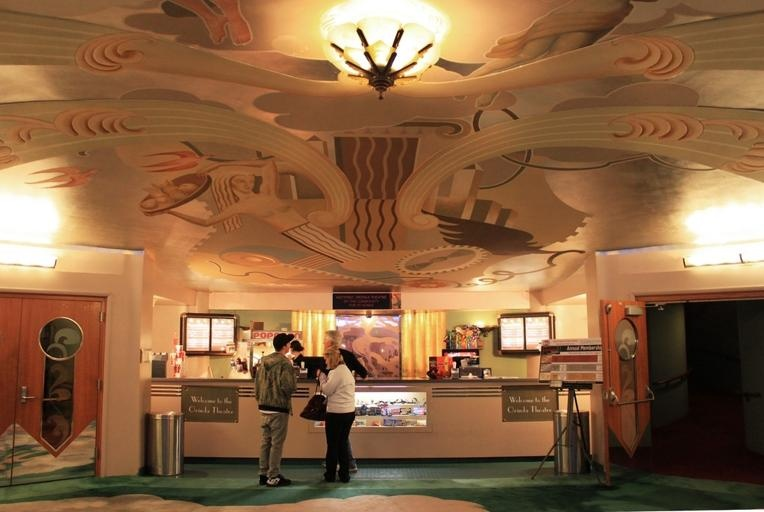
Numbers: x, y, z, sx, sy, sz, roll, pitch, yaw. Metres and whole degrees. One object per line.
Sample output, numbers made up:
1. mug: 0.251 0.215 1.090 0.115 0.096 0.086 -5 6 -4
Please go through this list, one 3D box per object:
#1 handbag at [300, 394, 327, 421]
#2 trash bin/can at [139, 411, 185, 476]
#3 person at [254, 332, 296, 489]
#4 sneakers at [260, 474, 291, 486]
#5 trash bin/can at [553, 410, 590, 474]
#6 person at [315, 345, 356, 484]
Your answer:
1. handbag: -1.017 2.247 8.320 0.380 0.391 0.212 1 -10 -5
2. trash bin/can: -3.556 3.057 9.088 0.633 0.957 0.357 2 -10 -10
3. person: -1.572 2.270 8.286 0.504 2.220 0.639 6 -11 -31
4. sneakers: -1.572 3.300 8.246 0.529 0.177 0.171 2 -8 -7
5. trash bin/can: 3.124 3.077 9.095 0.709 0.965 0.634 -7 -30 23
6. person: -0.678 2.376 8.369 0.492 2.005 0.530 1 -10 -3
